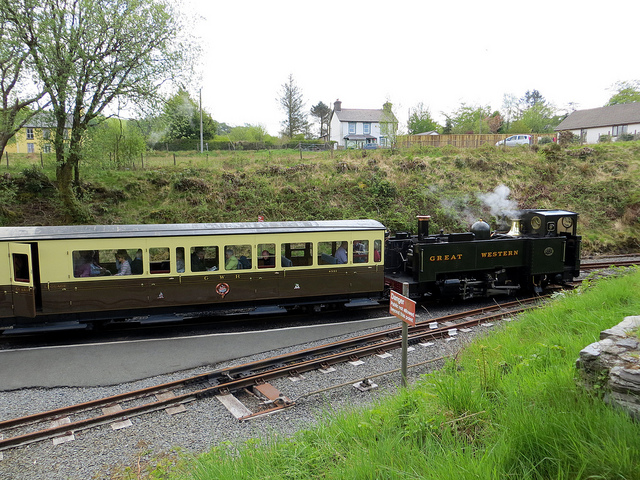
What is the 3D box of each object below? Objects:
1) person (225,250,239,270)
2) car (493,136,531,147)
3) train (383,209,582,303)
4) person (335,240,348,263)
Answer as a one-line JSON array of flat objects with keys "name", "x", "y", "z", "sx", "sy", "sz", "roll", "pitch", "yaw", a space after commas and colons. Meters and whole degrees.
[{"name": "person", "x": -2.590, "y": 0.488, "z": 14.376, "sx": 0.439, "sy": 0.591, "sz": 0.732, "roll": 4, "pitch": 12, "yaw": 1}, {"name": "car", "x": 16.391, "y": -8.495, "z": 39.551, "sx": 2.767, "sy": 0.658, "sz": 1.101, "roll": -4, "pitch": 15, "yaw": -10}, {"name": "train", "x": 5.706, "y": 0.384, "z": 17.107, "sx": 6.986, "sy": 2.716, "sz": 2.226, "roll": -3, "pitch": 6, "yaw": -11}, {"name": "person", "x": 0.697, "y": 0.285, "z": 15.048, "sx": 0.419, "sy": 0.726, "sz": 0.467, "roll": -6, "pitch": 20, "yaw": -19}]
